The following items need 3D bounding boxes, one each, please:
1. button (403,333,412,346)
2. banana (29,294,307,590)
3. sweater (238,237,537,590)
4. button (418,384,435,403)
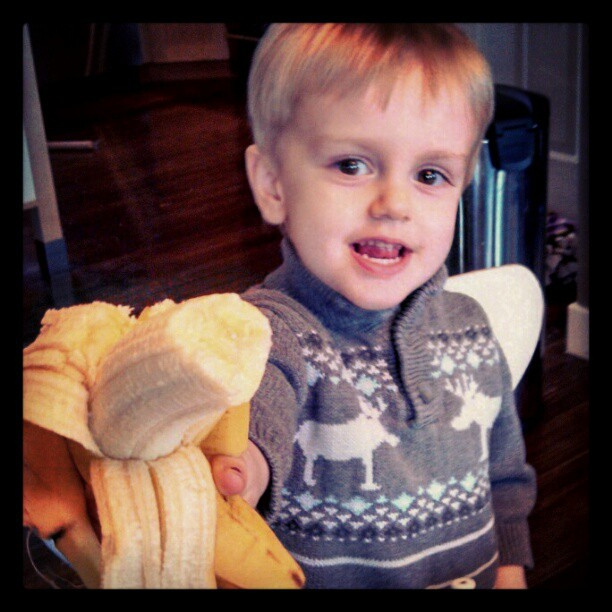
[{"bbox_3d":[0.107,0.035,0.664,0.003,0.012,0.011,-6,-13,38],"label":"button"},{"bbox_3d":[-0.109,0.128,0.627,0.207,0.287,0.096,-14,16,27],"label":"banana"},{"bbox_3d":[0.075,0.121,0.642,0.296,0.339,0.154,-2,3,-30],"label":"sweater"},{"bbox_3d":[0.126,0.090,0.660,0.016,0.020,0.004,-20,-2,-38],"label":"button"}]
